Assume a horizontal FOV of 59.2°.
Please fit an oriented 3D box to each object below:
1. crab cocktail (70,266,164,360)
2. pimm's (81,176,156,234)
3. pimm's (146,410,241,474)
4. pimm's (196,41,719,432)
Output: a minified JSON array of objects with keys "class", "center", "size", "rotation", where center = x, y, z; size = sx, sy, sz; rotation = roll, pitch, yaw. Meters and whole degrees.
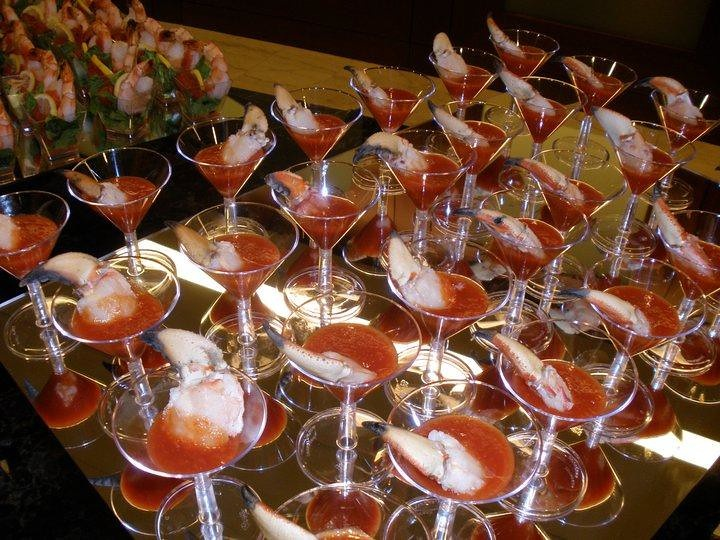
[{"class":"crab cocktail","center":[-0.797,0.125,2.069],"size":[0.196,0.211,0.245],"rotation":[25,38,27]},{"class":"pimm's","center":[-0.954,-0.287,2.529],"size":[0.247,0.225,0.327],"rotation":[-21,39,-32]},{"class":"pimm's","center":[-0.477,0.480,1.733],"size":[0.272,0.087,0.143],"rotation":[15,47,6]},{"class":"pimm's","center":[0.405,-0.130,2.594],"size":[0.861,1.547,1.170],"rotation":[30,41,23]}]
